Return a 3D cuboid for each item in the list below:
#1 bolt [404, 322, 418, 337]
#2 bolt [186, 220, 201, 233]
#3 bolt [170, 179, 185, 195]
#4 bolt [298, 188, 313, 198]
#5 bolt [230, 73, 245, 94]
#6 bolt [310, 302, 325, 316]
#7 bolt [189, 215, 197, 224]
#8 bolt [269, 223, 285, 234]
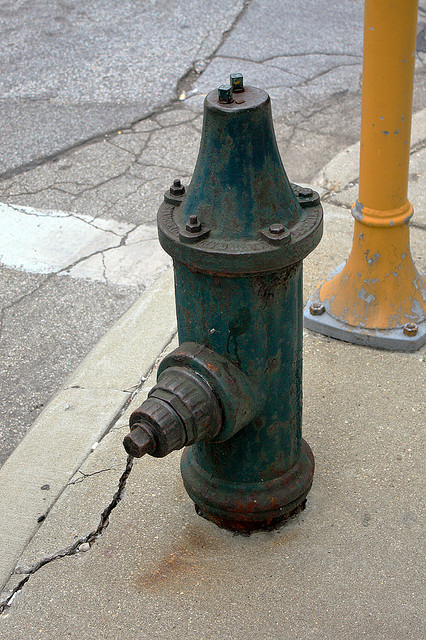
[{"bbox_3d":[0.888,0.041,3.524,0.060,0.047,0.084,0,27,14],"label":"bolt"},{"bbox_3d":[-0.055,-0.266,2.263,0.044,0.025,0.042,-8,27,-2],"label":"bolt"},{"bbox_3d":[-0.110,-0.420,2.555,0.050,0.045,0.050,-8,43,-5],"label":"bolt"},{"bbox_3d":[0.289,-0.394,2.461,0.043,0.011,0.038,-3,38,2],"label":"bolt"},{"bbox_3d":[0.082,-0.683,2.285,0.057,0.061,0.052,2,46,4],"label":"bolt"},{"bbox_3d":[0.489,-0.050,3.712,0.056,0.021,0.052,-10,34,-7],"label":"bolt"},{"bbox_3d":[-0.056,-0.286,2.253,0.021,0.022,0.021,28,45,32],"label":"bolt"},{"bbox_3d":[0.179,-0.252,2.221,0.039,0.022,0.034,3,29,20],"label":"bolt"}]
